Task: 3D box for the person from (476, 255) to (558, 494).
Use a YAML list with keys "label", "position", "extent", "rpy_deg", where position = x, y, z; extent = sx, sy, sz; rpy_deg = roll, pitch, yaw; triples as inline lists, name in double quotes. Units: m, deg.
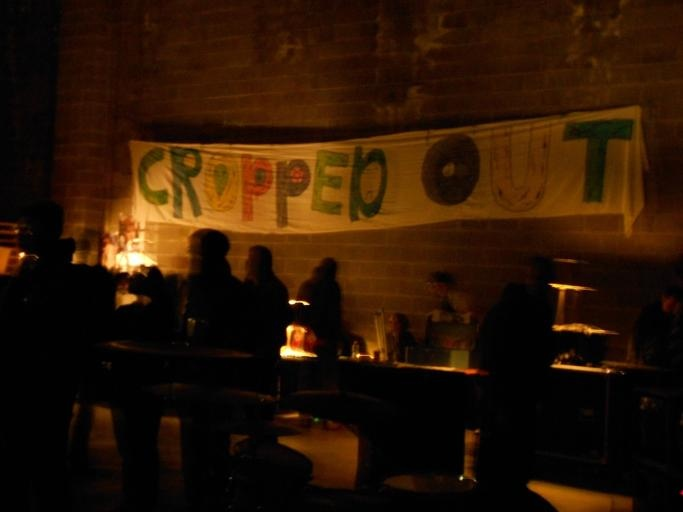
- label: "person"
  position: [1.430, 0.924, 5.082]
  extent: [0.566, 1.881, 0.699]
  rpy_deg: [3, -3, 15]
